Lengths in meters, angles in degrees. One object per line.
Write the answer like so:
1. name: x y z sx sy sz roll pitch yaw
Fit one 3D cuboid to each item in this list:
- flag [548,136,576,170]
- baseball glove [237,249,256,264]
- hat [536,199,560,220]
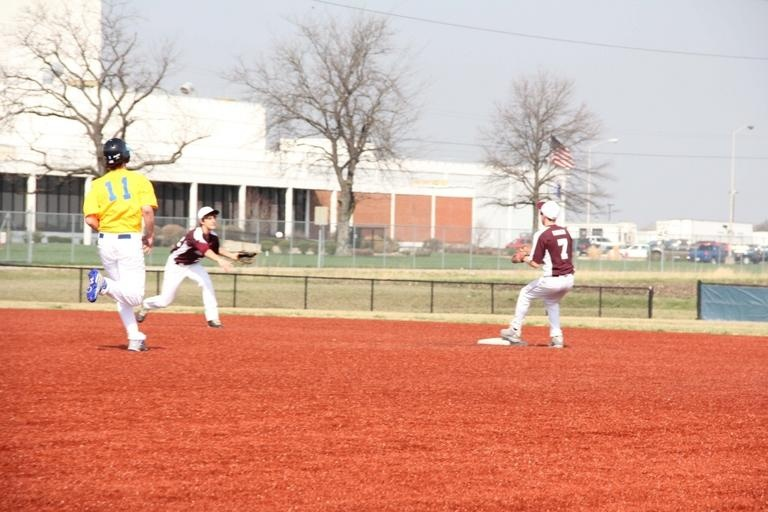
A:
1. flag: 10.894 -6.372 95.684 1.360 2.018 2.589 2 0 4
2. baseball glove: -5.568 0.065 62.138 0.625 0.308 0.602 0 2 -12
3. hat: 6.552 -1.820 61.814 0.774 0.770 1.299 2 0 4
